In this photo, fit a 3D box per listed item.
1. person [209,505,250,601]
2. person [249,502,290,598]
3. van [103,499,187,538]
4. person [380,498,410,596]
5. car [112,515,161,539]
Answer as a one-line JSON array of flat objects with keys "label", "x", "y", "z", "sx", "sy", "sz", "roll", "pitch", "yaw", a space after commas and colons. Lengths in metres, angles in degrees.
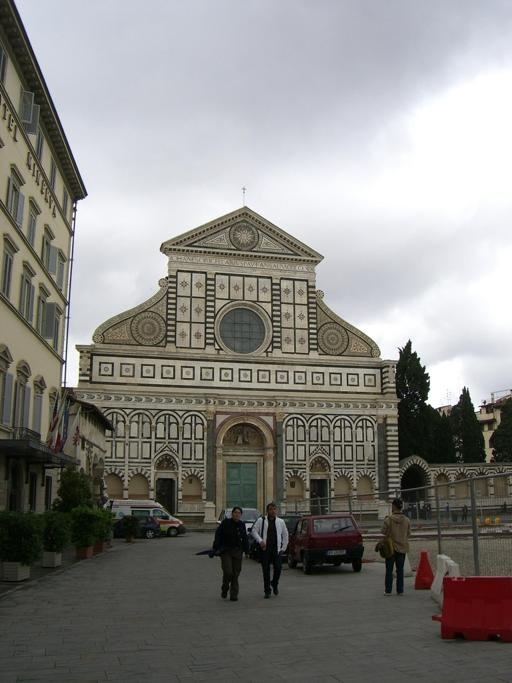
[{"label": "person", "x": -0.447, "y": 3.618, "z": 12.116, "sx": 0.595, "sy": 1.512, "sz": 0.942, "roll": 2, "pitch": -15, "yaw": 0}, {"label": "person", "x": 0.231, "y": 3.767, "z": 12.863, "sx": 0.651, "sy": 1.610, "sz": 1.135, "roll": 2, "pitch": -15, "yaw": 0}, {"label": "van", "x": -5.714, "y": 9.254, "z": 37.483, "sx": 4.629, "sy": 2.122, "sz": 2.585, "roll": 0, "pitch": -14, "yaw": -9}, {"label": "person", "x": 2.442, "y": 3.569, "z": 12.330, "sx": 0.454, "sy": 1.595, "sz": 0.844, "roll": 0, "pitch": -15, "yaw": 10}, {"label": "car", "x": -6.172, "y": 9.240, "z": 35.894, "sx": 2.585, "sy": 1.188, "sz": 1.547, "roll": 5, "pitch": -18, "yaw": -4}]
